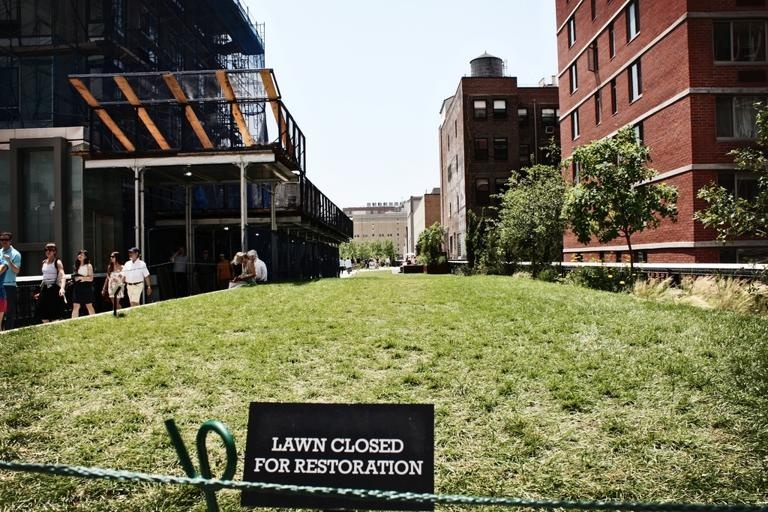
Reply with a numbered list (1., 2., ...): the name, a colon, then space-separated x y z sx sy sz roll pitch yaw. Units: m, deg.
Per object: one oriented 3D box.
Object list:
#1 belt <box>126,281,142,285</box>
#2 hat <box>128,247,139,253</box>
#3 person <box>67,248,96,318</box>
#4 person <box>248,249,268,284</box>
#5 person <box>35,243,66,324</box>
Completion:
1. belt: -8.127 0.885 22.703 0.415 0.092 0.114 -1 1 -25
2. hat: -8.838 -0.206 24.641 0.173 0.143 0.245 7 -6 40
3. person: -9.429 0.996 21.806 0.815 2.320 0.687 3 17 -16
4. person: -5.058 0.445 27.671 0.727 1.391 1.102 -1 8 23
5. person: -10.207 0.824 21.421 0.736 2.340 1.060 -1 1 -27
